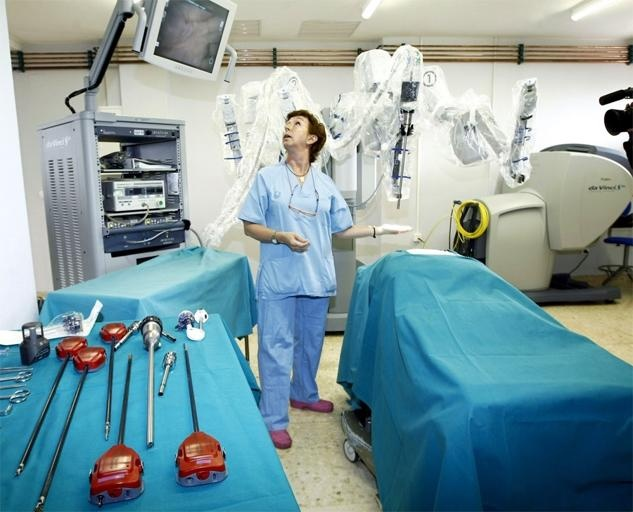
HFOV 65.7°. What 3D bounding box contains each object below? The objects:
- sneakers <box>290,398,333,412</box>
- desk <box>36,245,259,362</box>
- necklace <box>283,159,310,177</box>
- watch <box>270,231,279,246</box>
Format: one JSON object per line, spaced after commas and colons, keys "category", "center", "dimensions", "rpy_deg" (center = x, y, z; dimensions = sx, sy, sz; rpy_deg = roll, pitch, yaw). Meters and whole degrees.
{"category": "sneakers", "center": [-0.019, 0.846, 2.790], "dimensions": [0.215, 0.095, 0.087], "rpy_deg": [-2, 0, 6]}
{"category": "desk", "center": [-0.897, 0.202, 2.490], "dimensions": [0.905, 0.325, 0.557], "rpy_deg": [-15, 3, -33]}
{"category": "necklace", "center": [-0.100, -0.449, 2.532], "dimensions": [0.085, 0.086, 0.111], "rpy_deg": [3, 20, 3]}
{"category": "watch", "center": [-0.202, -0.083, 2.314], "dimensions": [0.032, 0.056, 0.056], "rpy_deg": [3, -26, -1]}
